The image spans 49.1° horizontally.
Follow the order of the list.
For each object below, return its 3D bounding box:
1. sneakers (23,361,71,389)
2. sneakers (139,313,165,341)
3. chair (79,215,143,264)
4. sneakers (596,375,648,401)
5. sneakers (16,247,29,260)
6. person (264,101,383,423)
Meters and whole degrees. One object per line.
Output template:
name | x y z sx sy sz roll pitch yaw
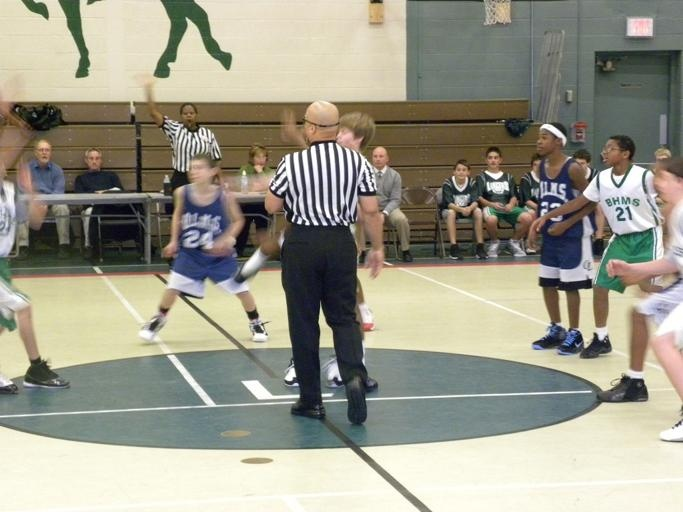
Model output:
sneakers | -2.213 0.861 5.572 0.341 0.224 0.106 1 7 9
sneakers | -1.827 0.686 7.209 0.099 0.120 0.277 9 53 37
chair | -4.110 -0.371 13.410 0.811 1.016 0.994 0 15 -16
sneakers | 2.017 0.940 5.375 0.447 0.210 0.150 1 -2 -6
sneakers | -5.603 -0.047 13.099 0.132 0.216 0.355 4 -5 -3
person | -0.108 0.035 4.868 0.659 2.032 0.596 2 8 13
